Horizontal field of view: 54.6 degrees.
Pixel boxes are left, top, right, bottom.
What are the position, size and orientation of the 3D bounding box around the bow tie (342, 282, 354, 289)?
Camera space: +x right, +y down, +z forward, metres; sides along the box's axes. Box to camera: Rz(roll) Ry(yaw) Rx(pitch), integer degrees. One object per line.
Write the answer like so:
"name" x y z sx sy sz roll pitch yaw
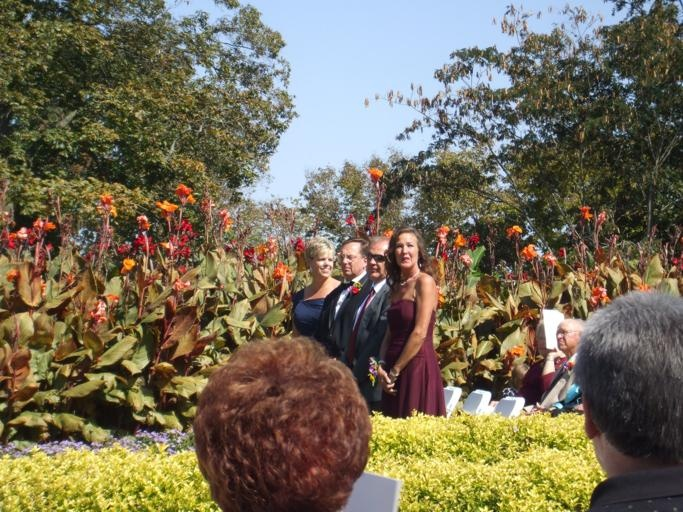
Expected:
"bow tie" 0.054 0.248 5.531 0.058 0.016 0.065 29 -55 -11
